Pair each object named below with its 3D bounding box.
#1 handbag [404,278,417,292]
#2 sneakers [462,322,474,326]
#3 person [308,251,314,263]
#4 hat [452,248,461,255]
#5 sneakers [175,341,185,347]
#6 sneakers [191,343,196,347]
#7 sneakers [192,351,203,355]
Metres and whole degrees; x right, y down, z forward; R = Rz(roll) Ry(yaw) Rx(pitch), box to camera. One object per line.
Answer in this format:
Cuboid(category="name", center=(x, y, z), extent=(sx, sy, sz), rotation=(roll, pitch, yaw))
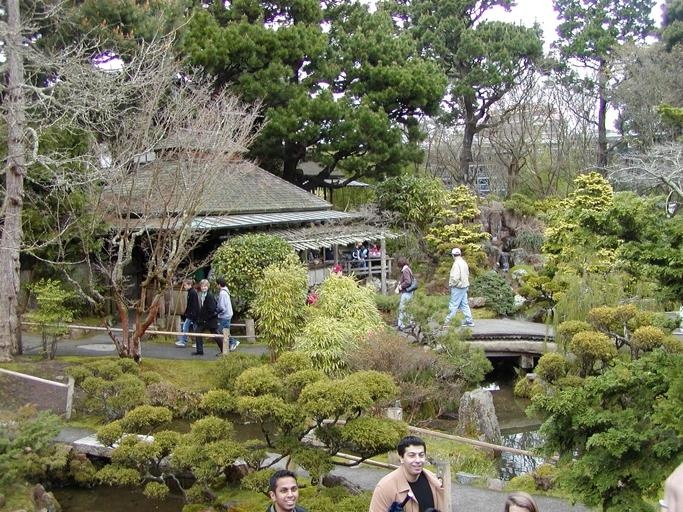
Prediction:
Cuboid(category="handbag", center=(2.137, 0.936, 19.539), extent=(0.267, 0.563, 0.524), rotation=(1, -3, 11))
Cuboid(category="sneakers", center=(4.046, 2.185, 20.556), extent=(0.349, 0.178, 0.138), rotation=(6, 5, 18))
Cuboid(category="person", center=(-1.295, 0.043, 26.820), extent=(0.259, 0.527, 0.998), rotation=(2, -5, -3))
Cuboid(category="hat", center=(3.365, -0.105, 18.912), extent=(0.266, 0.161, 0.401), rotation=(2, 6, 3))
Cuboid(category="sneakers", center=(-4.972, 2.726, 19.863), extent=(0.242, 0.122, 0.136), rotation=(8, -12, -19))
Cuboid(category="sneakers", center=(-4.616, 2.789, 20.080), extent=(0.139, 0.075, 0.223), rotation=(2, -7, -13))
Cuboid(category="sneakers", center=(-4.187, 2.832, 18.749), extent=(0.312, 0.156, 0.114), rotation=(7, 0, 6))
